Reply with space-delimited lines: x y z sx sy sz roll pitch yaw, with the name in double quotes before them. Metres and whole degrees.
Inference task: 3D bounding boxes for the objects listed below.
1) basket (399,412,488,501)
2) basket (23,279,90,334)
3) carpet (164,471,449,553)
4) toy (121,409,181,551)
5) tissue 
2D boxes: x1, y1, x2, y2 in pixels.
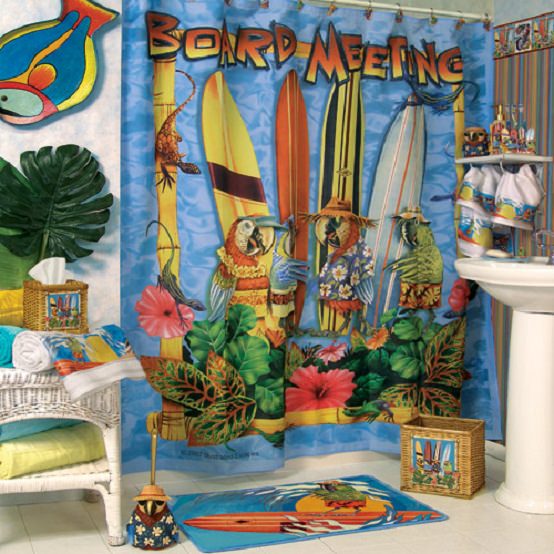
"basket" 0.651 0.698 2.436 0.276 0.217 0.219 -6 -9 38
"basket" -0.729 0.104 2.048 0.179 0.120 0.148 2 -3 -41
"carpet" 0.087 0.804 2.227 0.884 0.063 0.489 -2 2 -20
"toy" -0.413 0.631 2.043 0.165 0.382 0.329 -2 2 -13
"tissue " -0.736 0.075 2.064 0.221 0.190 0.202 -4 -1 2
